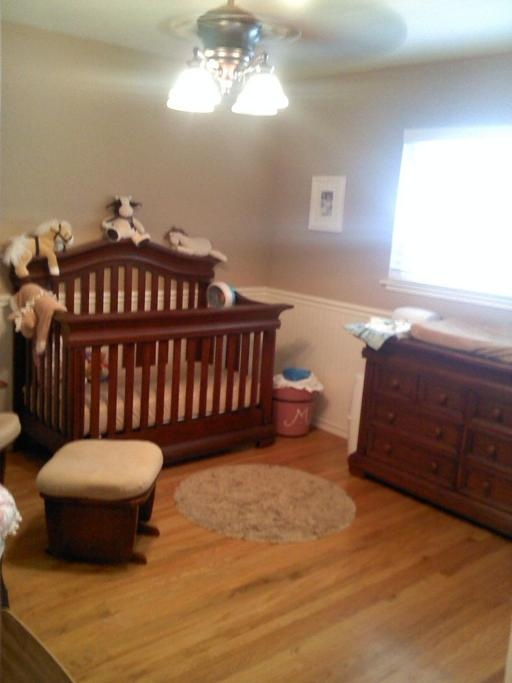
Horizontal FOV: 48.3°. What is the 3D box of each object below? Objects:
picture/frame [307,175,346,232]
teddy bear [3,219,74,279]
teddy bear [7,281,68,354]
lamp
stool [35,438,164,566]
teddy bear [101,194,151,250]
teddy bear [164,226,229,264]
[{"bbox_3d":[0.440,-0.862,3.583,0.029,0.347,0.296,-5,13,-40],"label":"picture/frame"},{"bbox_3d":[-1.062,-0.456,2.814,0.419,0.313,0.180,-14,28,-36],"label":"teddy bear"},{"bbox_3d":[-1.005,-0.093,2.570,0.120,0.320,0.481,-6,13,-42],"label":"teddy bear"},{"bbox_3d":[-0.081,-1.059,2.044,0.402,0.428,0.364,0,10,-20],"label":"lamp"},{"bbox_3d":[-0.548,0.569,2.115,0.413,0.338,0.432,3,4,3],"label":"stool"},{"bbox_3d":[-0.717,-0.663,3.133,0.230,0.265,0.196,-3,15,-25],"label":"teddy bear"},{"bbox_3d":[-0.379,-0.584,3.572,0.375,0.146,0.142,18,-9,-32],"label":"teddy bear"}]
